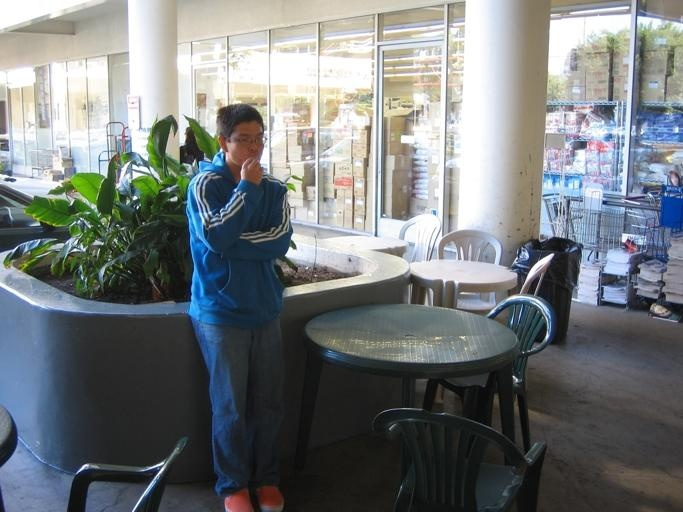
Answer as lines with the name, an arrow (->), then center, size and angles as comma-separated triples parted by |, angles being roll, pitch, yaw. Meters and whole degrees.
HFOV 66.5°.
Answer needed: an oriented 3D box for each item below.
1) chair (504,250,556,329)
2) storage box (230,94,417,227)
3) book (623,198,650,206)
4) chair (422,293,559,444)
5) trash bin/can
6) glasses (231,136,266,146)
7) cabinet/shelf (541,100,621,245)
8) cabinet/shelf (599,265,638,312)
chair -> 1.567, 0.232, 4.196 | 0.482, 0.709, 0.490 | -2, 7, 5
storage box -> -0.305, -1.375, 9.586 | 1.770, 3.481, 3.301 | -12, 17, -44
book -> 3.245, -0.591, 5.709 | 0.263, 0.088, 0.191 | 10, 16, 32
chair -> 0.870, 0.685, 3.082 | 0.601, 0.912, 0.621 | 5, 3, -27
trash bin/can -> 1.940, 0.300, 5.076 | 0.546, 0.910, 0.557 | -2, -3, 20
glasses -> -0.432, -0.545, 2.438 | 0.078, 0.022, 0.079 | 1, 4, 11
cabinet/shelf -> 3.067, -1.264, 6.636 | 0.836, 0.575, 1.718 | 8, 45, 19
cabinet/shelf -> 3.062, 0.229, 5.814 | 0.247, 0.499, 0.341 | 4, 32, 28
